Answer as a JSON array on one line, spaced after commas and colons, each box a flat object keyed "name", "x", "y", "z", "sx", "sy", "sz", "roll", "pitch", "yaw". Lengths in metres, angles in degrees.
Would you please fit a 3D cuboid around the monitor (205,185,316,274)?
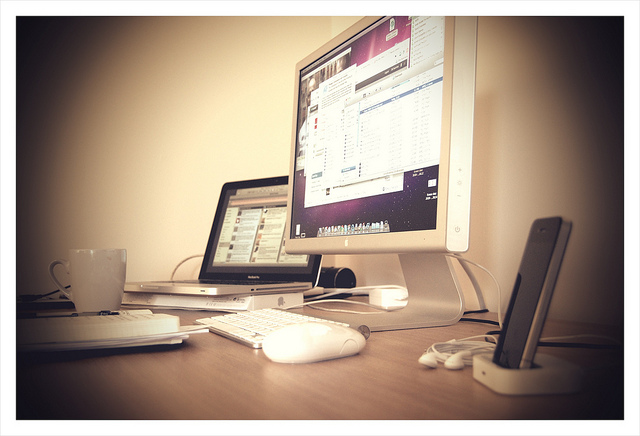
[{"name": "monitor", "x": -0.159, "y": 0.032, "z": 1.517, "sx": 0.204, "sy": 0.279, "sz": 0.363, "roll": 4, "pitch": -2, "yaw": -44}]

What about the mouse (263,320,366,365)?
[{"name": "mouse", "x": -0.010, "y": 0.193, "z": 0.751, "sx": 0.175, "sy": 0.054, "sz": 0.126, "roll": 0, "pitch": 6, "yaw": 0}]

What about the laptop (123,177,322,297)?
[{"name": "laptop", "x": -0.273, "y": 0.057, "z": 1.316, "sx": 0.476, "sy": 0.354, "sz": 0.554, "roll": -4, "pitch": 1, "yaw": -44}]

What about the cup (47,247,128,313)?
[{"name": "cup", "x": -0.537, "y": 0.146, "z": 1.044, "sx": 0.119, "sy": 0.154, "sz": 0.125, "roll": 5, "pitch": 2, "yaw": 0}]

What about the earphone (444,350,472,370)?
[{"name": "earphone", "x": 0.202, "y": 0.213, "z": 0.677, "sx": 0.016, "sy": 0.012, "sz": 0.041, "roll": -5, "pitch": -7, "yaw": 41}]

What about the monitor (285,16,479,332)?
[{"name": "monitor", "x": 0.181, "y": -0.089, "z": 1.123, "sx": 0.269, "sy": 0.740, "sz": 0.731, "roll": -1, "pitch": 4, "yaw": -23}]

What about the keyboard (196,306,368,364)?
[{"name": "keyboard", "x": -0.091, "y": 0.200, "z": 0.868, "sx": 0.206, "sy": 0.049, "sz": 0.392, "roll": 5, "pitch": -3, "yaw": -42}]
